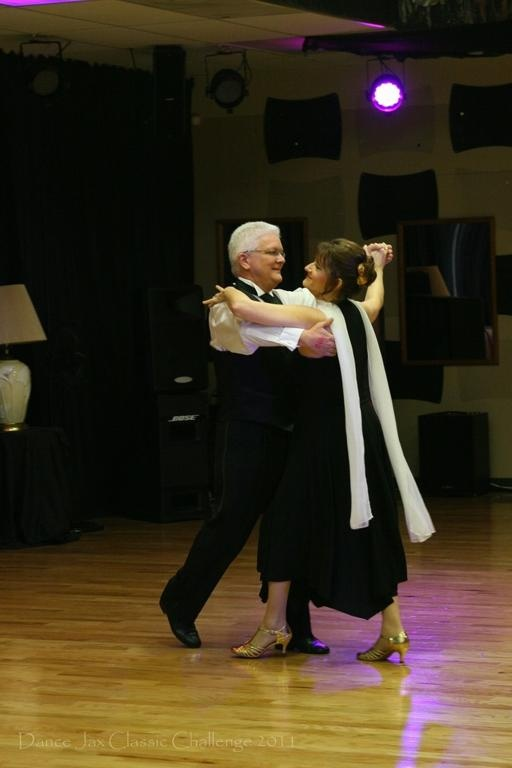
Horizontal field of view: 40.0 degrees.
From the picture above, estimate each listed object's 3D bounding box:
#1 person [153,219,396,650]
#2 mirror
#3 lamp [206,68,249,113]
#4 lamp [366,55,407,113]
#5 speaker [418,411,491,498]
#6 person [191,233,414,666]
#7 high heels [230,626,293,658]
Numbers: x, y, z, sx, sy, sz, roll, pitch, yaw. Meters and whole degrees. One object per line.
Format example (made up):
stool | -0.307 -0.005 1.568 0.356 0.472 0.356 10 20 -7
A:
person | 0.068 0.212 2.245 0.863 1.433 0.475 1 8 16
mirror | 1.602 -0.767 5.886 0.810 1.248 0.039 -2 -3 4
lamp | -0.228 -2.357 5.546 0.292 0.332 0.255 -3 7 -8
lamp | 1.058 -2.442 5.691 0.286 0.451 0.385 0 7 12
speaker | 1.542 0.584 5.933 0.571 0.632 0.556 2 -5 -21
person | 0.242 0.244 2.192 0.590 1.374 0.363 -2 7 -2
high heels | 0.020 0.846 2.333 0.197 0.108 0.102 2 -5 -4
